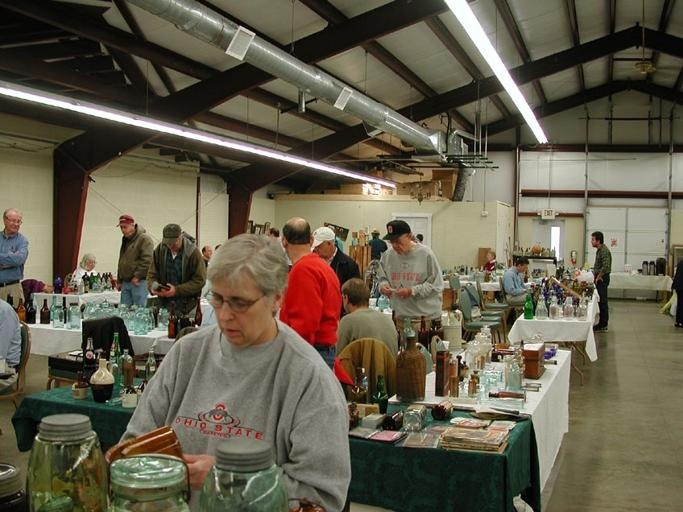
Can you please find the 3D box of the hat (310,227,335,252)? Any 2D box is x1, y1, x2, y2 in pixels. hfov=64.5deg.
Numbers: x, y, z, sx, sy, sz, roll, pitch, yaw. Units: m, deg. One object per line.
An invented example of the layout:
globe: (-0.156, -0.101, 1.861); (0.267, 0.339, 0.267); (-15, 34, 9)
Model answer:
hat: (-0.171, -0.162, 4.675); (0.135, 0.118, 0.202); (-4, 0, 44)

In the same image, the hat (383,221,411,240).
hat: (0.572, -0.255, 5.368); (0.158, 0.129, 0.235); (-1, 5, 35)

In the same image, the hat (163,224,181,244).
hat: (-1.748, -0.228, 5.642); (0.141, 0.115, 0.210); (-3, 17, -2)

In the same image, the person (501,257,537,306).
person: (3.174, 0.557, 9.690); (0.558, 1.042, 0.522); (-1, 8, 29)
